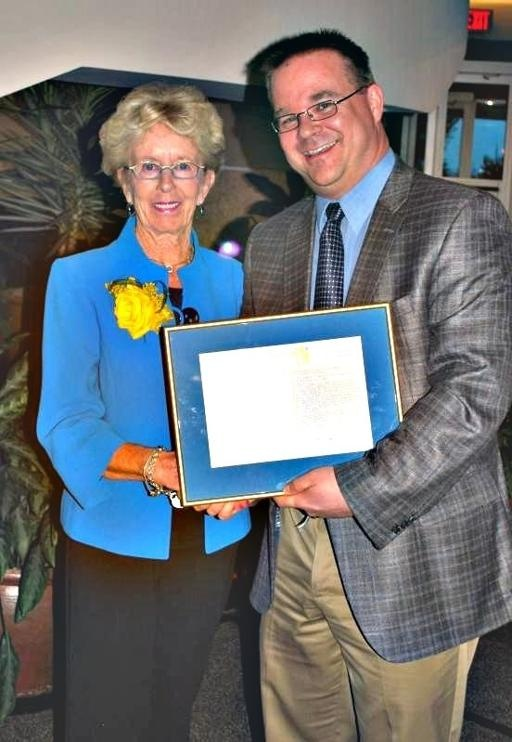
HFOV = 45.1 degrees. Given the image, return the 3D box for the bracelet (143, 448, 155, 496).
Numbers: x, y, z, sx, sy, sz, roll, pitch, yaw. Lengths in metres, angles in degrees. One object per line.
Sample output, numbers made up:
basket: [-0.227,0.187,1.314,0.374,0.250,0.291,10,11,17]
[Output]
bracelet: [-0.235,0.226,1.373,0.025,0.085,0.066,-2,4,-5]
